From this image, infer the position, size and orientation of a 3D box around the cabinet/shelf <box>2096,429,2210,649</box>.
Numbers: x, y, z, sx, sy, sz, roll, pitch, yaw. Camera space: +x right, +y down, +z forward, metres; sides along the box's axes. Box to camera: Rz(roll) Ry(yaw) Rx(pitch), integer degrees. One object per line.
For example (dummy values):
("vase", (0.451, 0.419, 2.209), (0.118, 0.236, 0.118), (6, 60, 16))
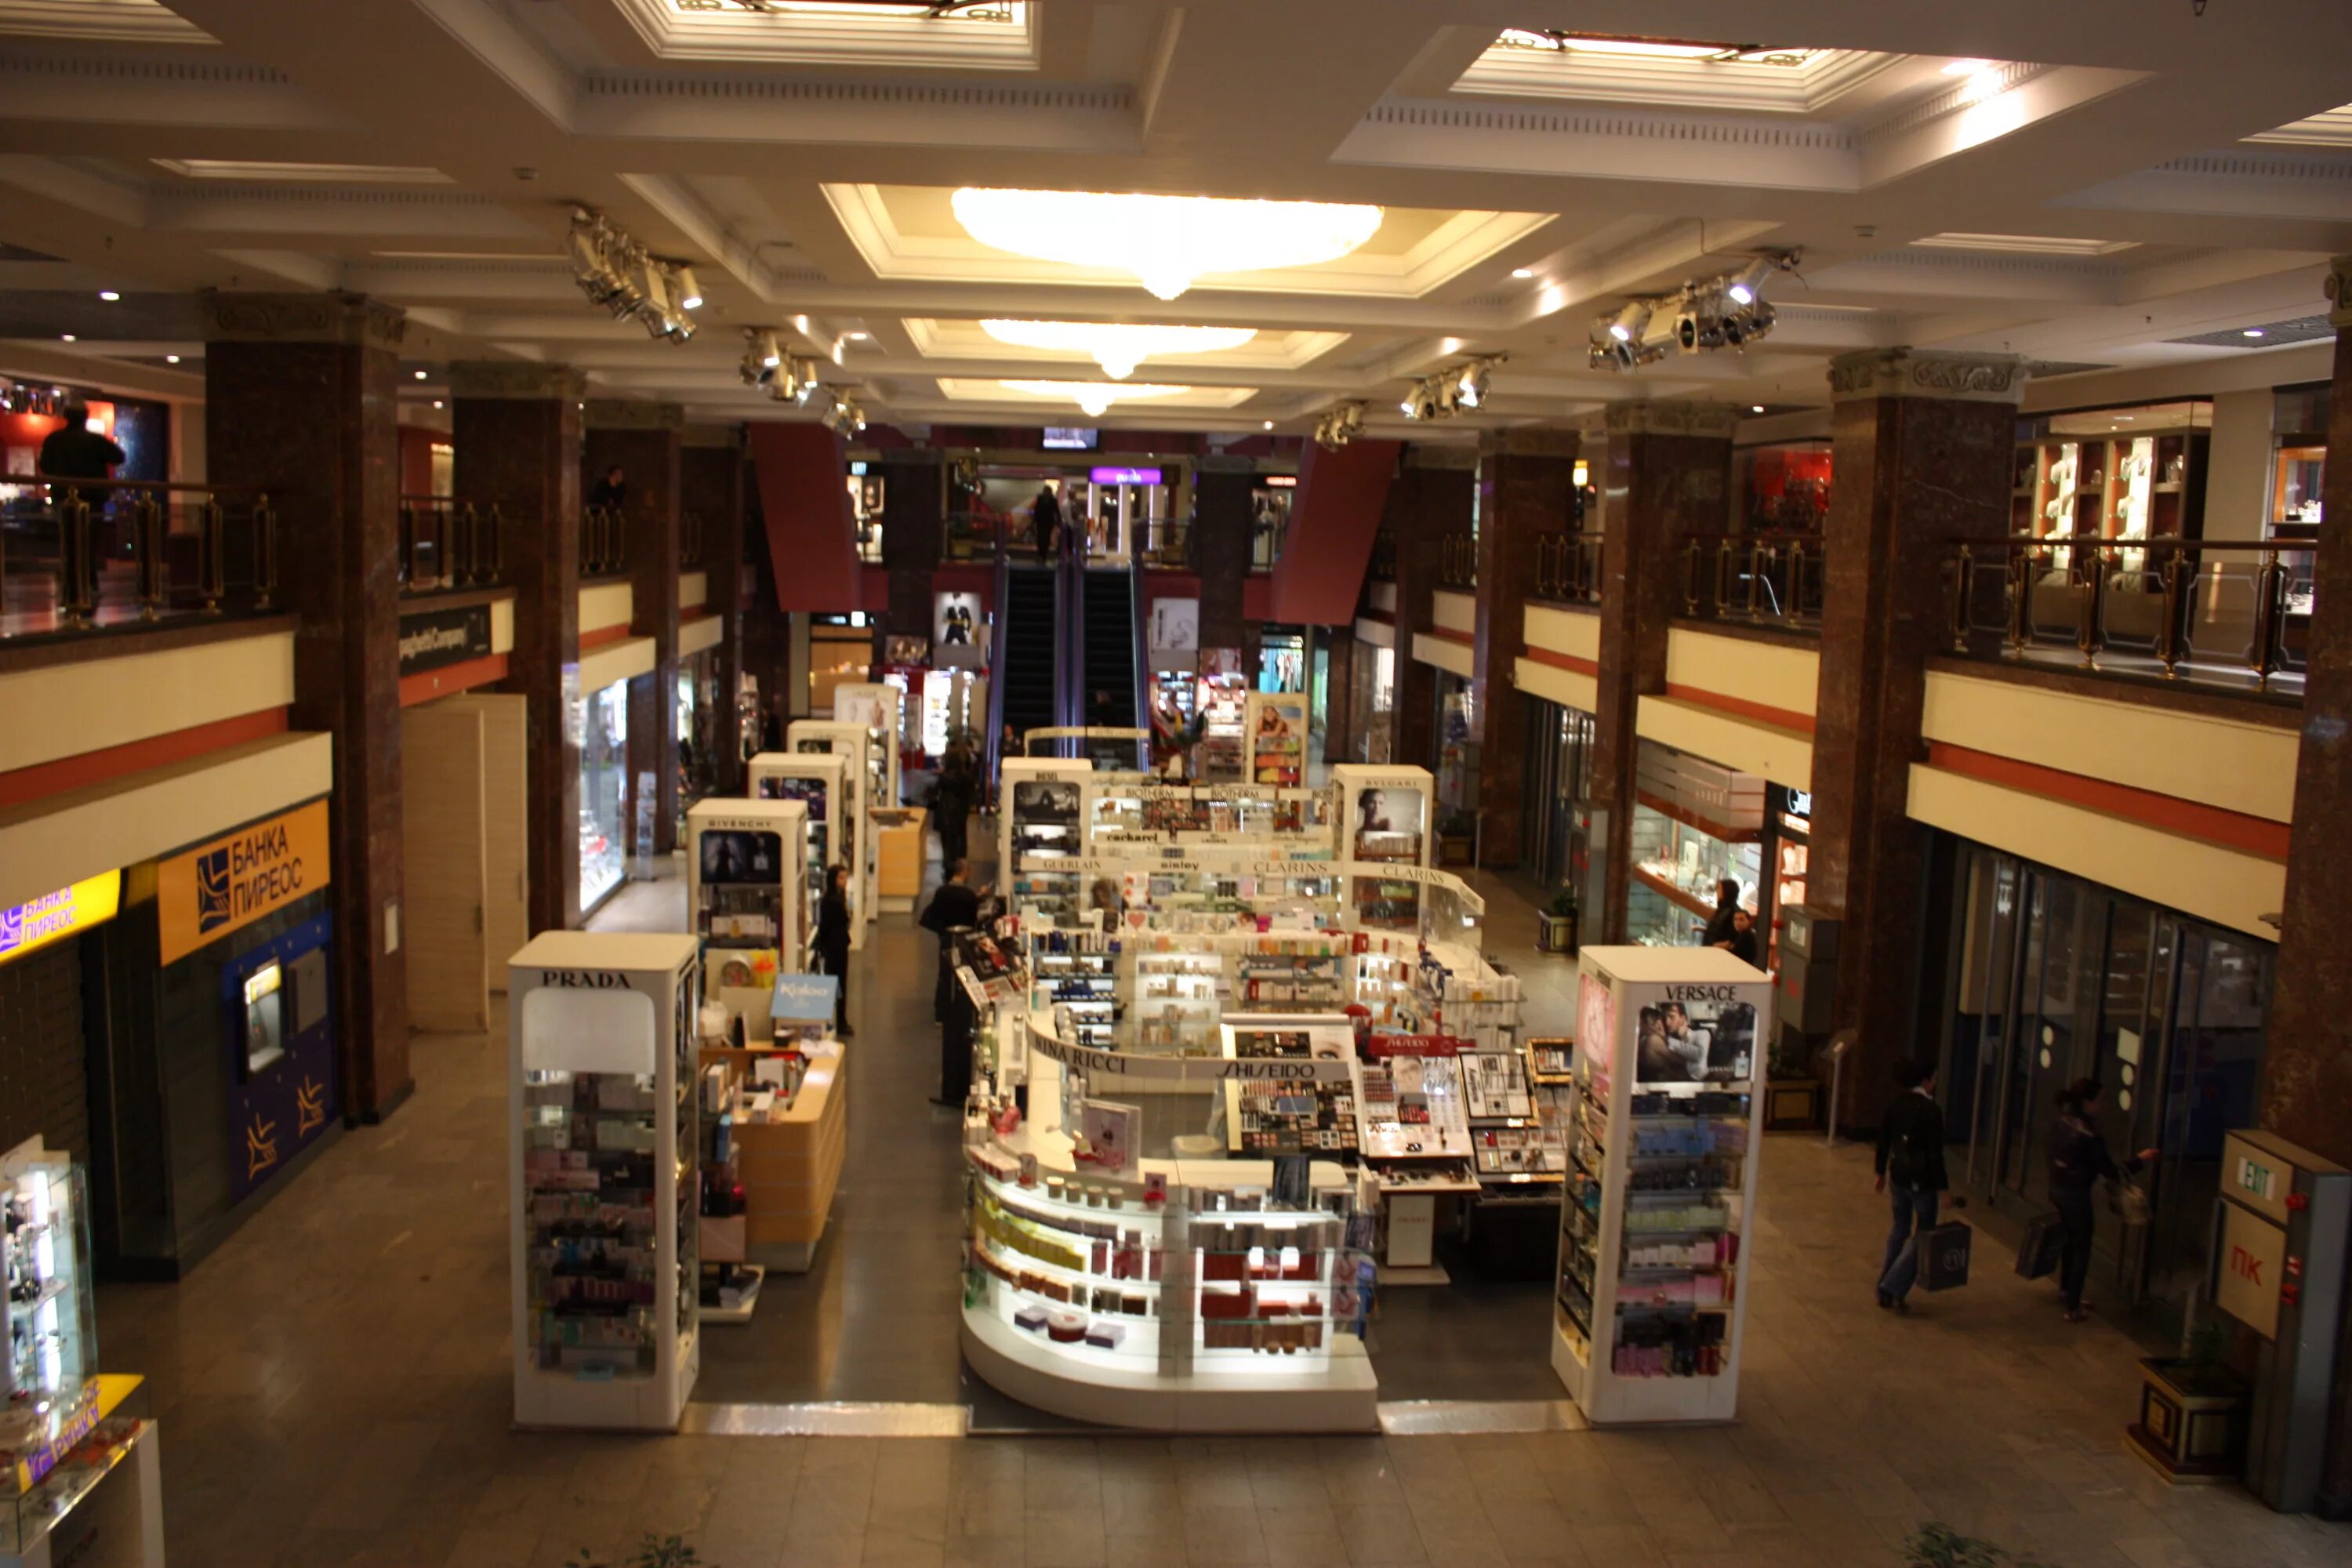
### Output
("cabinet/shelf", (7.834, -2.016, 13.770), (0.581, 2.065, 4.364), (4, 5, 30))

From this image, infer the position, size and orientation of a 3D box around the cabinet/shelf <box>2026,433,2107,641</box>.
("cabinet/shelf", (7.680, -2.224, 14.955), (0.597, 1.990, 4.585), (4, 5, 27))

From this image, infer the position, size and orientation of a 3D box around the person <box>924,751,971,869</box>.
("person", (-3.008, 0.604, 22.692), (0.482, 1.358, 0.407), (-9, -32, -16))

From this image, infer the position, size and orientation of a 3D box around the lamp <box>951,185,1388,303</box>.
("lamp", (-0.080, -3.713, 11.936), (2.838, 0.597, 1.132), (1, 5, -2))

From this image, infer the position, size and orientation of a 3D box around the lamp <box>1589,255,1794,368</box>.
("lamp", (3.704, -3.296, 12.136), (0.511, 0.708, 1.893), (-8, 10, -19))

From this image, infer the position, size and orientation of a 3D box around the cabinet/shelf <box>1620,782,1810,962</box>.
("cabinet/shelf", (5.467, 0.861, 17.314), (0.513, 1.513, 1.609), (0, 8, -6))

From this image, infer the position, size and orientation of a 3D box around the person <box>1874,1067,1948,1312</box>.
("person", (5.346, 2.921, 12.648), (0.486, 1.816, 0.418), (6, 6, 41))

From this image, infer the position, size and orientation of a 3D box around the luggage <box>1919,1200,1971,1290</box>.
("luggage", (5.580, 3.456, 12.551), (0.287, 0.656, 0.527), (5, 6, 34))

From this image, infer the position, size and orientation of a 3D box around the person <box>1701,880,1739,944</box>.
("person", (5.502, 1.267, 17.407), (0.326, 0.613, 0.763), (3, 5, 18))

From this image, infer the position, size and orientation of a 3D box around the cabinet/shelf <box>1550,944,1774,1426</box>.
("cabinet/shelf", (3.203, 2.626, 11.505), (1.181, 3.032, 0.769), (1, 5, -5))

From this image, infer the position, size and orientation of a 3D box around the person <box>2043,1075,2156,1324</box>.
("person", (6.695, 3.010, 12.638), (0.542, 1.715, 0.667), (4, 5, 29))

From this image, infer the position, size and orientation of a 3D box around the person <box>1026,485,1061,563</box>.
("person", (-2.155, -4.485, 29.634), (0.454, 1.256, 1.037), (1, 5, -3))
